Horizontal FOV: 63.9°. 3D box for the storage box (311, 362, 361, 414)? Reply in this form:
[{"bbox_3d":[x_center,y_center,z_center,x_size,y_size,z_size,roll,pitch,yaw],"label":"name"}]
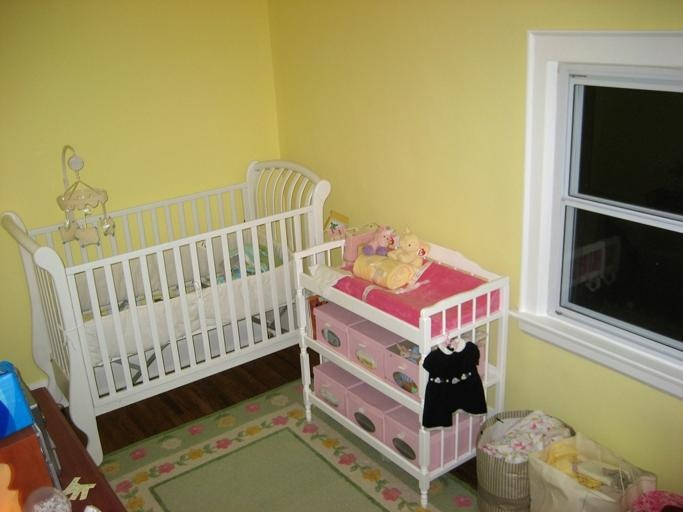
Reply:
[{"bbox_3d":[-0.022,0.803,3.418,0.277,0.178,0.277,-15,29,-41],"label":"storage box"}]

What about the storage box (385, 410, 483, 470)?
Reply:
[{"bbox_3d":[0.528,0.978,3.045,0.381,0.179,0.371,-14,20,-38],"label":"storage box"}]

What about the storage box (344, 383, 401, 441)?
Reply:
[{"bbox_3d":[0.211,0.968,3.284,0.363,0.182,0.382,15,-12,7],"label":"storage box"}]

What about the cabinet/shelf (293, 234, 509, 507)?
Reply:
[{"bbox_3d":[0.374,0.663,3.059,0.621,1.104,1.002,-20,32,-33],"label":"cabinet/shelf"}]

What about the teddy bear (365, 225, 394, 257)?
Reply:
[{"bbox_3d":[0.241,-0.093,3.308,0.184,0.152,0.136,6,22,24],"label":"teddy bear"}]

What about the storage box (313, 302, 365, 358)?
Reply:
[{"bbox_3d":[-0.008,0.421,3.326,0.279,0.177,0.281,22,27,39],"label":"storage box"}]
